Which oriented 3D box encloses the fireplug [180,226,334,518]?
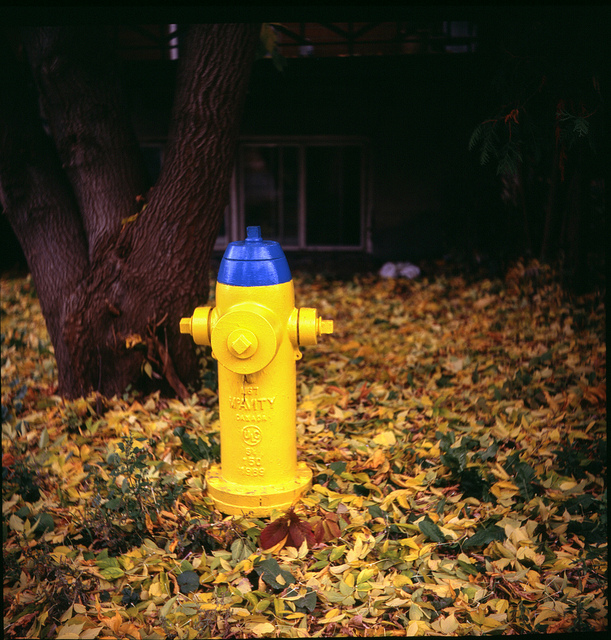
[{"bbox_3d":[-0.259,0.276,3.876,0.738,1.514,0.427,-1,9,-10],"label":"fireplug"}]
